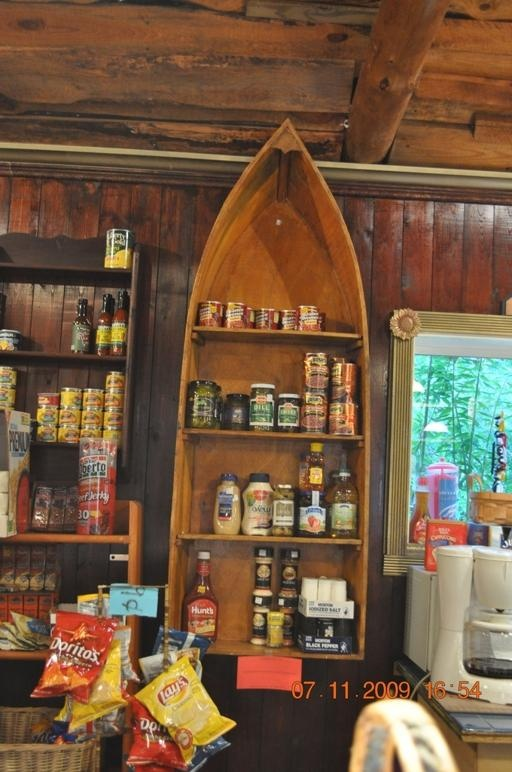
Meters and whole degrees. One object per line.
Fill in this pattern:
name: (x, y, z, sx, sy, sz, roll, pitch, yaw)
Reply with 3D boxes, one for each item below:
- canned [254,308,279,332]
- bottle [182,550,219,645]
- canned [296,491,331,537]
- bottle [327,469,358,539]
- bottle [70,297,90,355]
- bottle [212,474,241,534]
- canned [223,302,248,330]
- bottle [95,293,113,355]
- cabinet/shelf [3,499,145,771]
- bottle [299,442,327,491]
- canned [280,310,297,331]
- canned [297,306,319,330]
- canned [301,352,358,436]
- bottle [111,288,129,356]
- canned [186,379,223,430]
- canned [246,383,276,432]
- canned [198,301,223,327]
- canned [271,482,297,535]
canned: (0.039, -0.228, 2.540, 0.084, 0.087, 0.086, 3, 1, 38)
bottle: (-0.175, 0.705, 2.427, 0.129, 0.286, 0.113, 8, -10, -34)
canned: (0.191, 0.428, 2.407, 0.089, 0.153, 0.070, 3, -8, -6)
bottle: (0.293, 0.398, 2.436, 0.096, 0.223, 0.104, 2, -8, 0)
bottle: (-0.638, -0.211, 2.661, 0.072, 0.231, 0.189, 4, -8, -14)
bottle: (-0.096, 0.407, 2.474, 0.094, 0.201, 0.240, 3, -8, -3)
canned: (-0.069, -0.233, 2.459, 0.088, 0.094, 0.089, 2, 1, 34)
bottle: (-0.551, -0.219, 2.639, 0.059, 0.257, 0.161, 4, -8, -12)
cabinet/shelf: (-0.603, 0.794, 2.368, 0.443, 0.825, 0.423, 3, -8, -8)
bottle: (0.197, 0.288, 2.532, 0.092, 0.167, 0.221, 2, -8, 6)
canned: (0.116, -0.225, 2.532, 0.051, 0.079, 0.065, 4, -8, -14)
canned: (0.178, -0.224, 2.487, 0.084, 0.099, 0.071, 1, -8, 9)
canned: (0.255, 0.037, 2.460, 0.195, 0.282, 0.122, 2, -8, 4)
bottle: (-0.493, -0.223, 2.624, 0.057, 0.251, 0.070, 4, -9, -11)
canned: (-0.165, 0.071, 2.413, 0.135, 0.163, 0.094, 5, -9, -20)
canned: (0.021, 0.082, 2.477, 0.086, 0.162, 0.160, 2, -8, 1)
canned: (-0.155, -0.240, 2.461, 0.092, 0.093, 0.090, 1, 1, -29)
canned: (0.094, 0.420, 2.420, 0.069, 0.164, 0.069, 3, -8, -2)
